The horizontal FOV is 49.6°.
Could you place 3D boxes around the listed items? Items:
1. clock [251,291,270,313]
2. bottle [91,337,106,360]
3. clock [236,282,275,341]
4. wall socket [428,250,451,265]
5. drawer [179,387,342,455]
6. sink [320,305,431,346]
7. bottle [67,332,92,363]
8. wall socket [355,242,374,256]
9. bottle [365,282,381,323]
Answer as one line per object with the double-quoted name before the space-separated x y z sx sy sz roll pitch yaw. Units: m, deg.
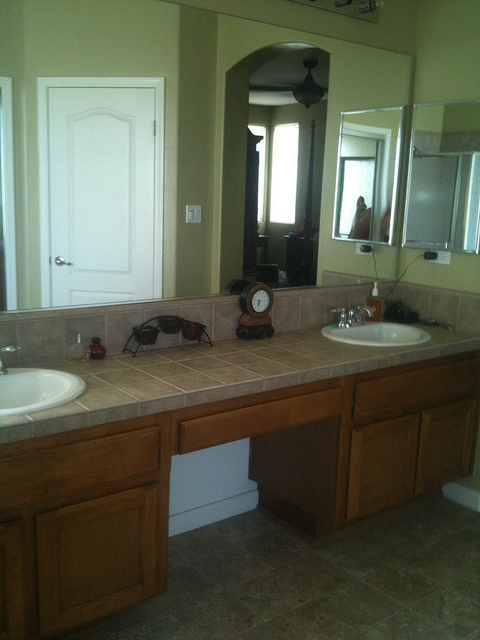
"clock" 0.088 -0.075 2.223 0.083 0.085 0.084 19 11 40
"bottle" -0.495 0.101 1.859 0.063 0.085 0.063 4 6 0
"clock" 0.057 -0.036 2.217 0.212 0.248 0.086 -10 16 -40
"wall socket" 1.059 -0.331 2.723 0.024 0.068 0.103 -12 17 -26
"drawer" 0.069 0.321 1.783 0.606 0.121 0.091 -10 15 -14
"sink" 0.654 0.032 2.489 0.485 0.163 0.588 7 7 41
"bottle" -0.553 0.094 1.802 0.086 0.097 0.074 -2 7 -38
"wall socket" 0.670 -0.383 2.798 0.131 0.067 0.015 -3 7 -41
"bottle" 0.709 -0.099 2.773 0.074 0.203 0.272 3 6 13
